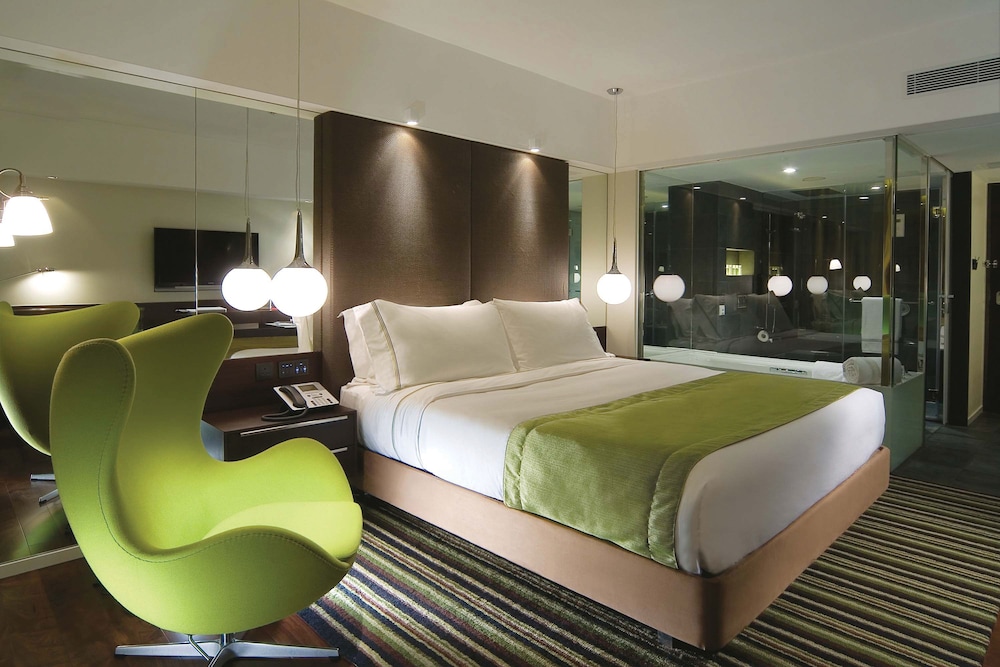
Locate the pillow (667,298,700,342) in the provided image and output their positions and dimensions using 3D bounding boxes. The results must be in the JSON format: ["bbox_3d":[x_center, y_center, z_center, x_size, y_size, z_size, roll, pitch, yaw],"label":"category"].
[{"bbox_3d":[1.724,-0.131,6.344,0.268,0.375,0.108,-8,1,3],"label":"pillow"}]

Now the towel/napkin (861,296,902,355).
[{"bbox_3d":[3.043,-0.048,5.401,0.295,0.438,0.308,7,-2,-10],"label":"towel/napkin"}]

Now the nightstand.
[{"bbox_3d":[-1.438,0.883,4.438,0.858,0.742,0.484,-5,8,-44],"label":"nightstand"}]

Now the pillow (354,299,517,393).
[{"bbox_3d":[-0.433,0.072,5.064,1.262,0.728,0.478,-2,-14,-39],"label":"pillow"}]

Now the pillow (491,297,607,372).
[{"bbox_3d":[0.412,-0.006,5.392,1.114,0.527,0.475,-9,15,-43],"label":"pillow"}]

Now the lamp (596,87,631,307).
[{"bbox_3d":[1.028,-1.195,6.062,0.367,1.908,0.376,-6,13,-19],"label":"lamp"}]

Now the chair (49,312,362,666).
[{"bbox_3d":[-1.378,0.872,3.877,1.566,1.996,1.784,1,5,-4],"label":"chair"}]

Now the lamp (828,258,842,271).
[{"bbox_3d":[2.720,-0.564,5.497,0.082,0.093,0.085,-7,2,-4],"label":"lamp"}]

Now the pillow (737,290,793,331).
[{"bbox_3d":[2.360,-0.207,5.953,0.317,0.324,0.095,-5,2,36],"label":"pillow"}]

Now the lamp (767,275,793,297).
[{"bbox_3d":[2.383,-0.403,5.785,0.161,0.162,0.163,-8,4,-26],"label":"lamp"}]

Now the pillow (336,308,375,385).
[{"bbox_3d":[-1.029,0.075,4.858,0.130,0.472,0.430,0,6,17],"label":"pillow"}]

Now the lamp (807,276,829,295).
[{"bbox_3d":[2.619,-0.403,5.596,0.137,0.147,0.140,-6,10,-16],"label":"lamp"}]
